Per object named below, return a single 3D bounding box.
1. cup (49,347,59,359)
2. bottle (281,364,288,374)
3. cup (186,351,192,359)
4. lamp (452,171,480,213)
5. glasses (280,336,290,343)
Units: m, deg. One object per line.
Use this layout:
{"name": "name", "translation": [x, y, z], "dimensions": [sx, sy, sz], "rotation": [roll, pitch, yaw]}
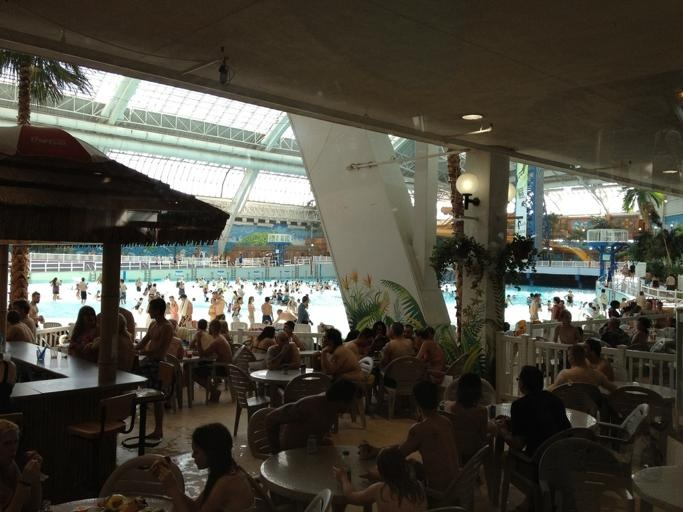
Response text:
{"name": "cup", "translation": [-3.874, 1.314, 7.013], "dimensions": [0.126, 0.172, 0.116], "rotation": [-1, -9, 0]}
{"name": "bottle", "translation": [-0.858, 1.730, 7.925], "dimensions": [0.077, 0.123, 0.076], "rotation": [0, 6, 0]}
{"name": "cup", "translation": [-2.785, 1.814, 9.592], "dimensions": [0.123, 0.082, 0.066], "rotation": [1, 5, 28]}
{"name": "lamp", "translation": [2.302, -1.142, 9.512], "dimensions": [0.337, 0.644, 0.577], "rotation": [-4, -5, 29]}
{"name": "glasses", "translation": [-0.890, 1.321, 8.379], "dimensions": [0.108, 0.119, 0.238], "rotation": [-3, -5, 18]}
